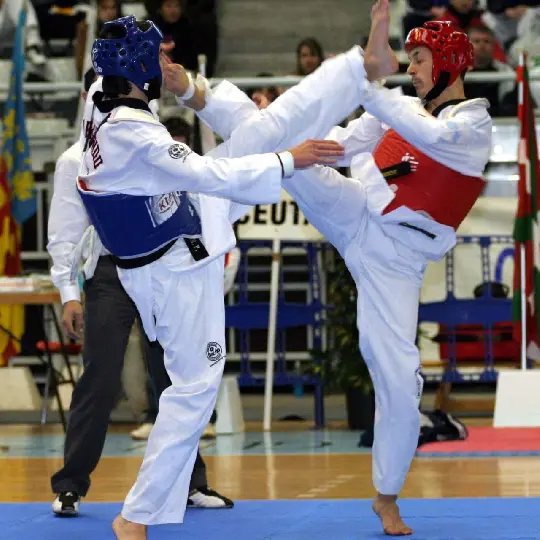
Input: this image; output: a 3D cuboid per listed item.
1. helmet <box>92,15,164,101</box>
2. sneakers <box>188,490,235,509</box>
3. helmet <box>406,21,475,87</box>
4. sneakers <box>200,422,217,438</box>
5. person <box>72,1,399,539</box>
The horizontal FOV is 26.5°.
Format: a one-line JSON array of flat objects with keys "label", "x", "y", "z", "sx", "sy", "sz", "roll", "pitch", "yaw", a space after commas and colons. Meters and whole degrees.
[{"label": "helmet", "x": -0.551, "y": -0.861, "z": 4.661, "sx": 0.297, "sy": 0.349, "sz": 0.272, "roll": -10, "pitch": 19, "yaw": -2}, {"label": "sneakers", "x": -0.294, "y": 1.080, "z": 5.366, "sx": 0.239, "sy": 0.084, "sz": 0.089, "roll": -2, "pitch": -7, "yaw": 22}, {"label": "helmet", "x": 0.792, "y": -0.973, "z": 5.170, "sx": 0.315, "sy": 0.281, "sz": 0.241, "roll": -7, "pitch": 17, "yaw": -14}, {"label": "sneakers", "x": -0.402, "y": 1.032, "z": 7.369, "sx": 0.080, "sy": 0.092, "sz": 0.219, "roll": 1, "pitch": -10, "yaw": 1}, {"label": "person", "x": -0.341, "y": 0.015, "z": 4.687, "sx": 0.882, "sy": 2.084, "sz": 0.525, "roll": -1, "pitch": 7, "yaw": -5}]
